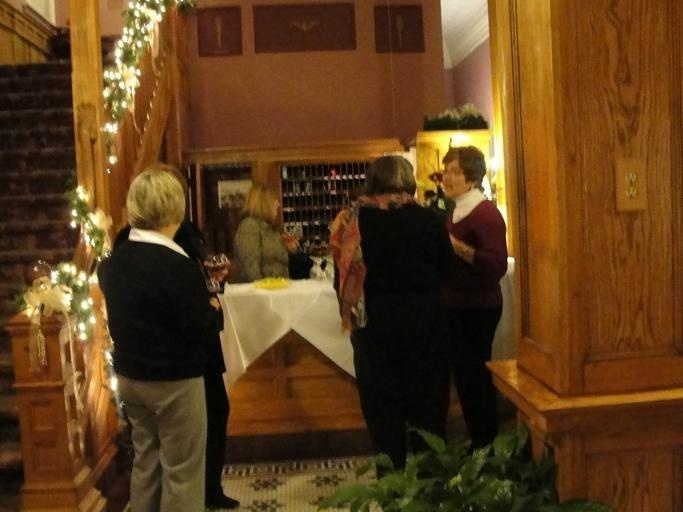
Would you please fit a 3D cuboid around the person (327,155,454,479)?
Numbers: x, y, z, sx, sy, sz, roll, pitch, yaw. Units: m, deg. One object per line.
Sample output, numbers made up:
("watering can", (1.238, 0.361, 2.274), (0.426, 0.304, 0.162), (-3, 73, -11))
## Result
("person", (0.238, 0.273, 2.952), (0.554, 1.456, 0.193), (-2, 2, 11))
